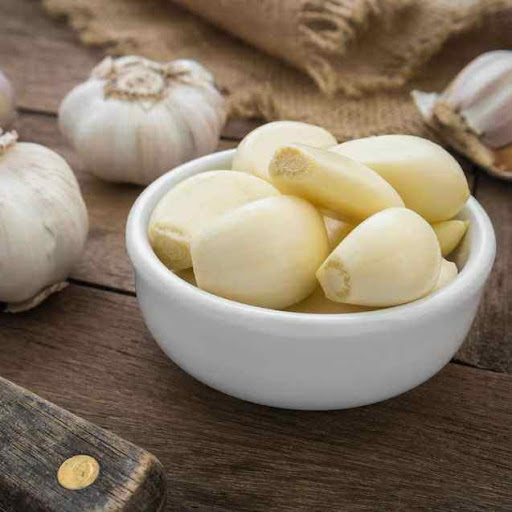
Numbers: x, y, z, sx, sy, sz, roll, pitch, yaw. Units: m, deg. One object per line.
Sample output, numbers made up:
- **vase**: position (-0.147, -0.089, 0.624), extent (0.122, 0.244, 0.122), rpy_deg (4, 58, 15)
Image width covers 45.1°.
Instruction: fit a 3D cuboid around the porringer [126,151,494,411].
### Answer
- **porringer**: position (0.052, 0.029, 0.394), extent (0.244, 0.082, 0.127), rpy_deg (-5, 48, -15)
